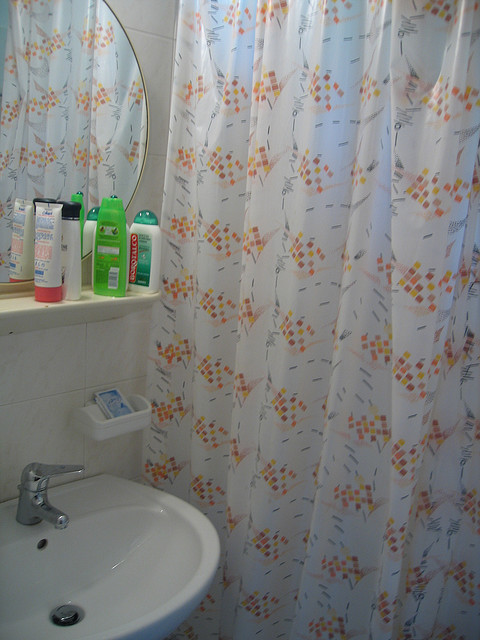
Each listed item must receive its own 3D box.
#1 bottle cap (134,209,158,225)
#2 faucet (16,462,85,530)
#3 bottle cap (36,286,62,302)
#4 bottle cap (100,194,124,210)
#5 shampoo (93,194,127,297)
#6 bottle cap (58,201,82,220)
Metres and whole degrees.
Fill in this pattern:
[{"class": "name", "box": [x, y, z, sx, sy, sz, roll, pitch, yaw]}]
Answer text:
[{"class": "bottle cap", "box": [-0.209, -0.228, 1.175, 0.035, 0.026, 0.038, 19, 4, 21]}, {"class": "faucet", "box": [-0.391, 0.352, 1.071, 0.162, 0.143, 0.055, 7, 6, 22]}, {"class": "bottle cap", "box": [-0.363, -0.049, 1.005, 0.030, 0.023, 0.032, -2, 10, -30]}, {"class": "bottle cap", "box": [-0.266, -0.243, 1.123, 0.040, 0.034, 0.038, 5, 9, 9]}, {"class": "shampoo", "box": [-0.273, -0.153, 1.112, 0.068, 0.202, 0.058, 0, 8, -15]}, {"class": "bottle cap", "box": [-0.328, -0.211, 1.016, 0.040, 0.034, 0.045, 0, 10, -16]}]
